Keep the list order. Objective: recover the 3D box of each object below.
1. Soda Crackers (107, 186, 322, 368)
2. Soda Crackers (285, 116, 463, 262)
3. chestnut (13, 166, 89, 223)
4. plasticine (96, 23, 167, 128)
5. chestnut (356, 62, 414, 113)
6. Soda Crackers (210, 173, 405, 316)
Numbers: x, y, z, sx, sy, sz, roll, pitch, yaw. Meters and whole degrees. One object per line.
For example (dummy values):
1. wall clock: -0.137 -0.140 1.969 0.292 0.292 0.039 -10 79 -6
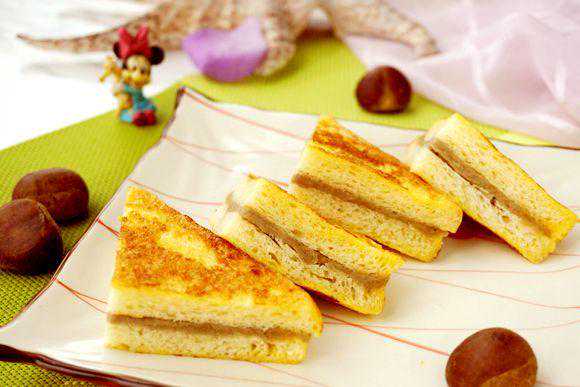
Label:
1. Soda Crackers: -0.439 0.453 2.113 1.054 0.302 0.624 28 68 21
2. Soda Crackers: 0.408 0.051 2.640 0.896 0.328 0.502 29 69 -2
3. chestnut: -1.173 -0.004 2.520 0.318 0.297 0.213 4 96 -17
4. plasticine: -0.966 -0.685 3.055 0.405 0.582 0.141 -10 33 -30
5. chestnut: 0.651 -0.717 3.371 0.168 0.299 0.397 -21 27 -36
6. Soda Crackers: 0.069 0.225 2.408 0.929 0.368 0.350 29 92 -9
